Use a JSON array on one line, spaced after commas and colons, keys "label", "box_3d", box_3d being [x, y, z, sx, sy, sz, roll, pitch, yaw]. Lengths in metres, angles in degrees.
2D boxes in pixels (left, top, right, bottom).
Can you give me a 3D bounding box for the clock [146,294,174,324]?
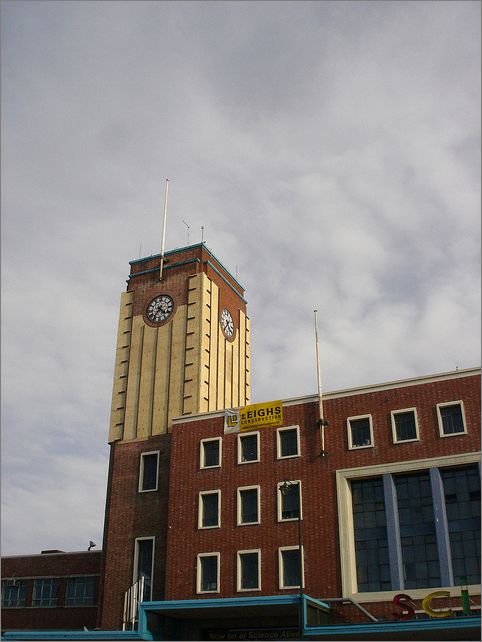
[{"label": "clock", "box_3d": [-6.713, -0.957, 58.616, 1.947, 1.949, 0.216, 22, -12, 17]}]
